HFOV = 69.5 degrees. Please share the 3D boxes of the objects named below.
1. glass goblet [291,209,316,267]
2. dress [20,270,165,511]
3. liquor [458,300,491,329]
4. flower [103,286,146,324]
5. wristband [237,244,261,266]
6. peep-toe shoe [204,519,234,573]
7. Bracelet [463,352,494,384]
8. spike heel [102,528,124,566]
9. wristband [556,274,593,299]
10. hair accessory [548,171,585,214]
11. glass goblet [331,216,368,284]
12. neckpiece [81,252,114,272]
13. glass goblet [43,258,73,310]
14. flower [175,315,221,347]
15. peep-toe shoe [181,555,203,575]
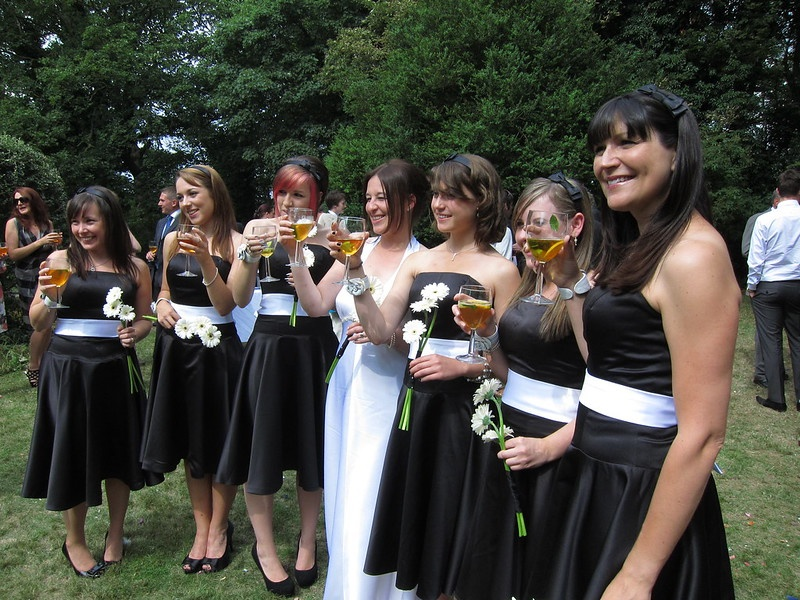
[{"bbox_3d":[-0.625,-0.389,3.670,0.151,0.349,0.419,1,3,-7],"label":"glass goblet"},{"bbox_3d":[-2.274,0.633,4.195,0.800,1.671,0.476,-1,4,-36],"label":"dress"},{"bbox_3d":[0.407,0.084,3.169,0.165,0.158,0.192,2,3,6],"label":"liquor"},{"bbox_3d":[-1.975,0.058,4.251,0.208,0.258,0.345,10,-13,-11],"label":"flower"},{"bbox_3d":[-1.059,-0.314,4.024,0.082,0.126,0.158,-24,25,-23],"label":"wristband"},{"bbox_3d":[-1.378,1.877,4.416,0.121,0.244,0.355,-16,3,27],"label":"peep-toe shoe"},{"bbox_3d":[0.446,0.381,3.318,0.150,0.074,0.173,33,-21,-7],"label":"Bracelet"},{"bbox_3d":[-2.180,1.820,4.404,0.112,0.362,0.079,13,-30,-38],"label":"spike heel"},{"bbox_3d":[0.882,-0.052,2.929,0.129,0.072,0.116,-24,-2,-10],"label":"wristband"},{"bbox_3d":[0.969,-0.653,3.405,0.136,0.256,0.075,-22,-15,-29],"label":"hair accessory"},{"bbox_3d":[-0.287,-0.299,3.359,0.179,0.367,0.261,1,3,-3],"label":"glass goblet"},{"bbox_3d":[-2.278,-0.269,4.376,0.119,0.177,0.041,-2,-6,-16],"label":"neckpiece"},{"bbox_3d":[-2.395,-0.114,4.032,0.141,0.343,0.203,-1,4,-33],"label":"glass goblet"},{"bbox_3d":[-1.504,0.241,4.296,0.314,0.225,0.140,1,3,-6],"label":"flower"},{"bbox_3d":[-1.538,1.951,4.280,0.157,0.094,0.076,1,3,-1],"label":"peep-toe shoe"}]
